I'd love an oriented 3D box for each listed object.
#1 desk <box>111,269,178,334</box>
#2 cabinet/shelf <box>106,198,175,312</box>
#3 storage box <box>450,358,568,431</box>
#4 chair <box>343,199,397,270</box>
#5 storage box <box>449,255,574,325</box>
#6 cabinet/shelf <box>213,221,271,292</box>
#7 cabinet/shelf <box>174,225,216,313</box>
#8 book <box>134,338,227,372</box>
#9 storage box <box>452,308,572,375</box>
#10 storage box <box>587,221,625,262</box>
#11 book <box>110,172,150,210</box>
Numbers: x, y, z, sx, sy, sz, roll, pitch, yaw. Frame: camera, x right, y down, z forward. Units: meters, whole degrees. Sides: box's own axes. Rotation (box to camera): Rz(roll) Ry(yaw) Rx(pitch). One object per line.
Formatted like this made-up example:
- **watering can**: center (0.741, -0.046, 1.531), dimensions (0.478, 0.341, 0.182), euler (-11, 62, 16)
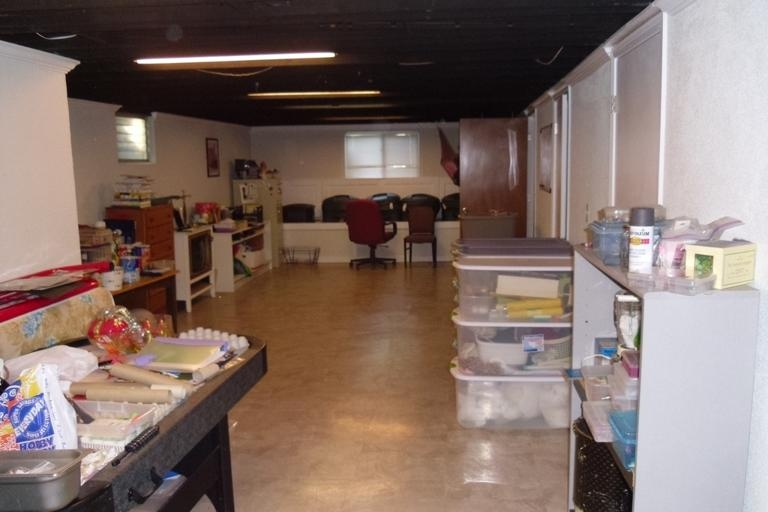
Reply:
- **desk**: center (-2.051, 0.343, 4.728), dimensions (0.427, 0.555, 0.617), euler (0, 9, 3)
- **cabinet/shelf**: center (-2.720, -0.143, 6.451), dimensions (0.687, 1.119, 0.871), euler (0, 8, 0)
- **storage box**: center (0.857, 0.976, 4.003), dimensions (0.809, 0.322, 0.527), euler (0, 3, 3)
- **chair**: center (-0.207, -0.376, 9.305), dimensions (0.791, 1.098, 0.830), euler (2, 9, 10)
- **storage box**: center (0.901, 0.284, 4.033), dimensions (1.107, 0.474, 0.755), euler (5, -5, -2)
- **cabinet/shelf**: center (-2.177, -0.066, 8.446), dimensions (0.374, 0.928, 1.689), euler (1, 13, 7)
- **cabinet/shelf**: center (-2.549, 0.153, 7.257), dimensions (0.401, 0.916, 1.015), euler (0, 9, 2)
- **book**: center (-0.951, 0.453, 2.622), dimensions (0.208, 0.066, 0.204), euler (3, 8, 13)
- **storage box**: center (0.868, 0.559, 3.778), dimensions (0.621, 0.210, 0.448), euler (0, -1, 5)
- **storage box**: center (0.991, -0.072, 2.511), dimensions (0.154, 0.188, 0.224), euler (-1, 5, 4)
- **book**: center (-2.956, -0.766, 6.590), dimensions (0.521, 0.314, 0.471), euler (2, 9, 2)
